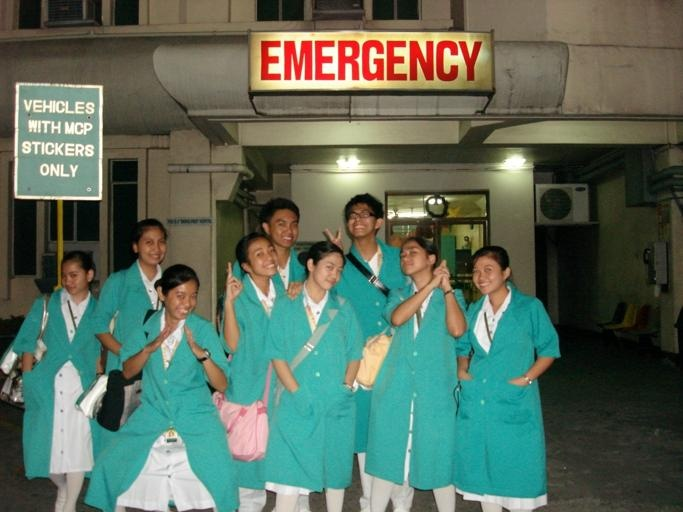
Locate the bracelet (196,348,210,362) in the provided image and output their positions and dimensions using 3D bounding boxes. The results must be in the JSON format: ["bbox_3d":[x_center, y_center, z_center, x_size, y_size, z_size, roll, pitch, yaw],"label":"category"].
[{"bbox_3d":[-1.404,1.022,7.697,0.106,0.060,0.117,-3,16,11],"label":"bracelet"}]

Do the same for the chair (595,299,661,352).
[{"bbox_3d":[5.999,1.414,15.739,0.749,0.904,1.699,0,3,-5],"label":"chair"}]

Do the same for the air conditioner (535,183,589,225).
[{"bbox_3d":[4.839,-1.129,16.691,1.295,1.085,0.786,0,-3,-9],"label":"air conditioner"}]

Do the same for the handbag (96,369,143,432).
[{"bbox_3d":[-2.264,1.508,7.762,0.271,0.565,0.475,17,-6,11],"label":"handbag"}]

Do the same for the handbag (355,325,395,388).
[{"bbox_3d":[0.334,1.111,7.965,0.405,0.535,0.177,18,-4,-24],"label":"handbag"}]

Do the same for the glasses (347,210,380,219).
[{"bbox_3d":[0.251,-0.454,8.459,0.345,0.083,0.091,0,2,0],"label":"glasses"}]

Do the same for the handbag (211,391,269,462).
[{"bbox_3d":[-1.043,1.799,7.777,0.593,0.761,0.353,-4,-1,4],"label":"handbag"}]

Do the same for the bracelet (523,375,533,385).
[{"bbox_3d":[1.878,1.276,7.691,0.092,0.115,0.068,-2,-16,-10],"label":"bracelet"}]
